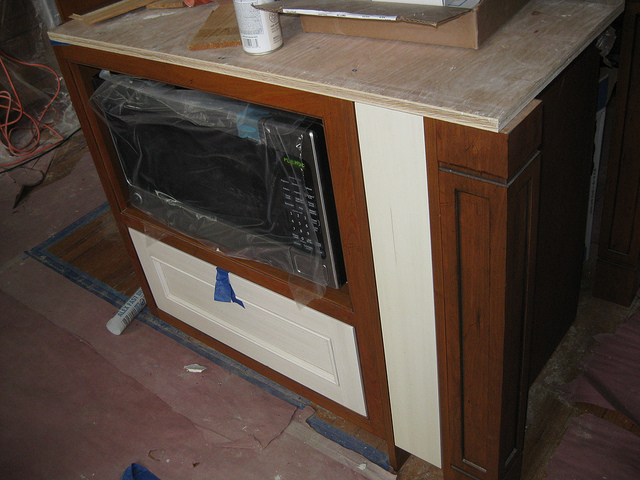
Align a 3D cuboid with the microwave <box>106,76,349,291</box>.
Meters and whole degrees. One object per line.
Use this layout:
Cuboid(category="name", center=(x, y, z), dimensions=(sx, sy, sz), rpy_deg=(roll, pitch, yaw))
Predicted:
Cuboid(category="microwave", center=(-0.203, -0.259, 1.533), dimensions=(0.752, 0.474, 0.418), rpy_deg=(19, 45, 28))
